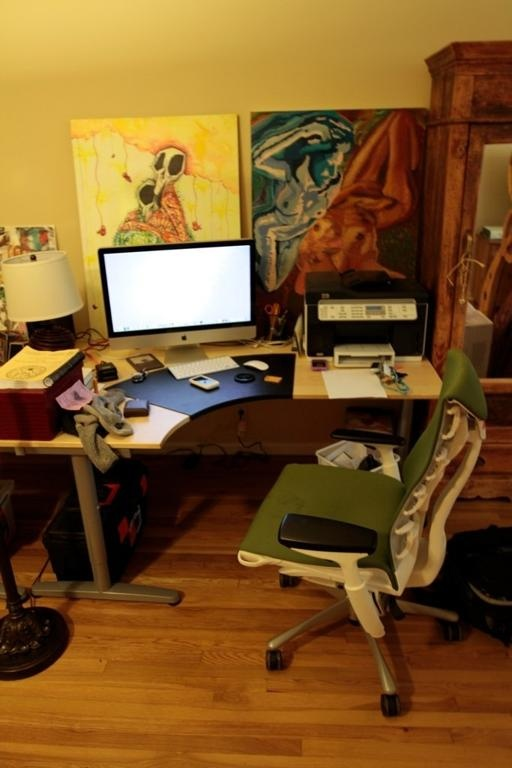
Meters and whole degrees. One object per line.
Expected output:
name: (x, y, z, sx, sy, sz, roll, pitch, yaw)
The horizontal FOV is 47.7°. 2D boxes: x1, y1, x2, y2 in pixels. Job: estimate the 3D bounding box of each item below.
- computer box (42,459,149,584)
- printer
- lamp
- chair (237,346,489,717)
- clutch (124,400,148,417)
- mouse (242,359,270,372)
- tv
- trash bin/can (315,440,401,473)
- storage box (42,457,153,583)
computer box: (-0.589, 0.567, 2.319, 0.240, 0.300, 0.463, -7, 19, 39)
printer: (0.462, -0.278, 2.492, 0.479, 0.297, 0.384, 0, 41, 5)
lamp: (-0.872, -0.350, 2.403, 0.276, 0.396, 0.423, -9, 25, -16)
chair: (0.271, 0.357, 1.624, 0.617, 0.833, 0.619, 12, 26, 35)
clutch: (-0.395, 0.088, 1.945, 0.060, 0.016, 0.067, 1, 29, -5)
mouse: (0.003, -0.078, 2.368, 0.076, 0.020, 0.050, 15, 27, 30)
tv: (-0.312, -0.336, 2.396, 0.531, 0.408, 0.157, -5, 31, -11)
trash bin/can: (0.396, 0.295, 2.321, 0.264, 0.122, 0.178, 7, 17, 18)
storage box: (-0.591, 0.538, 2.213, 0.242, 0.301, 0.451, 2, 29, 11)
